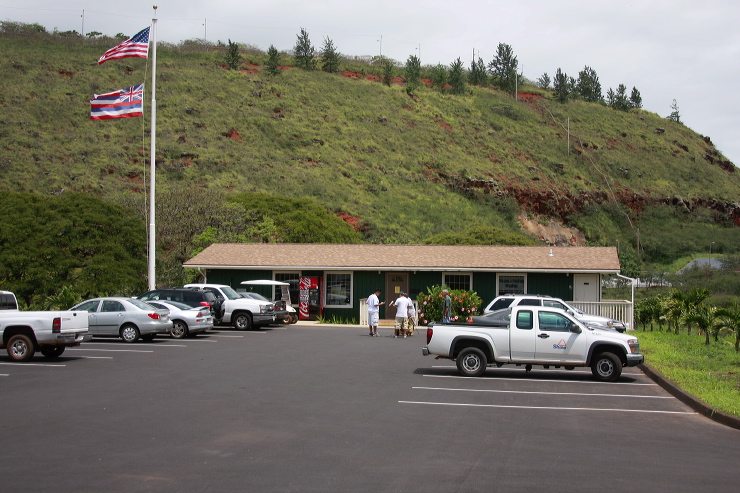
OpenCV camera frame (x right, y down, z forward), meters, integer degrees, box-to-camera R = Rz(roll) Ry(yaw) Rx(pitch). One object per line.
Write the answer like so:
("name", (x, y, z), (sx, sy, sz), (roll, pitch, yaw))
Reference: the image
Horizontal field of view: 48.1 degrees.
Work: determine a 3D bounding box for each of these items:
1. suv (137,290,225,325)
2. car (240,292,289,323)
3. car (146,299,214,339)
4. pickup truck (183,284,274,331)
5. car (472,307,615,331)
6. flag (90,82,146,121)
("suv", (-9.210, 2.790, 40.213), (3.405, 1.486, 1.700), (5, -1, 4))
("car", (-5.518, 3.213, 43.261), (2.136, 1.401, 1.511), (-3, -1, 17))
("car", (-8.651, 3.315, 38.109), (1.591, 2.505, 2.388), (-1, -4, 26))
("pickup truck", (-6.765, 3.193, 42.348), (3.803, 1.893, 2.271), (-1, 0, 8))
("car", (6.368, 2.692, 30.597), (5.126, 1.488, 2.771), (-2, -2, 6))
("flag", (-12.814, -7.282, 42.107), (2.635, 1.976, 0.288), (-9, 45, -27))
